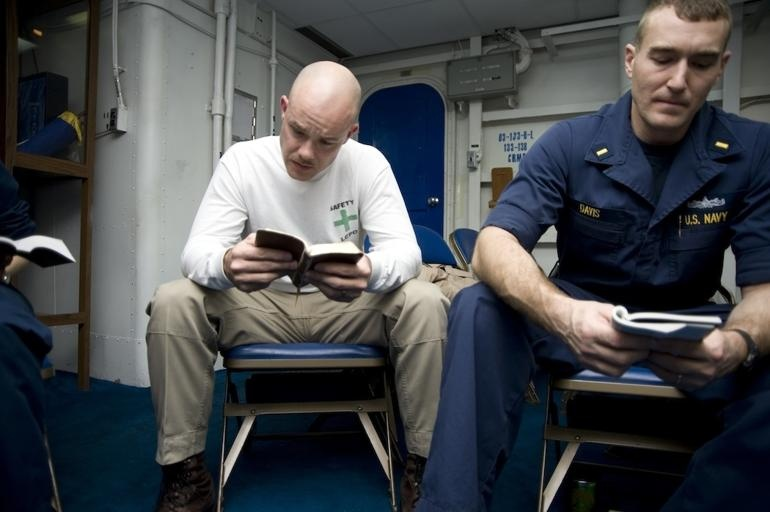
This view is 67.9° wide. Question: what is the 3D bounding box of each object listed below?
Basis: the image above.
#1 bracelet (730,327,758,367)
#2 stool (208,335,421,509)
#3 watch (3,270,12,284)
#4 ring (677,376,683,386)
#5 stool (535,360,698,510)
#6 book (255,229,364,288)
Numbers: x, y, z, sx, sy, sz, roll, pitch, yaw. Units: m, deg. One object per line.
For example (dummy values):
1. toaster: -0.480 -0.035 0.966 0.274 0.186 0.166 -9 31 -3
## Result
1. bracelet: 1.270 0.326 2.012 0.086 0.129 0.045 7 11 28
2. stool: -0.334 0.703 2.748 0.803 0.638 0.745 1 2 -2
3. watch: -1.625 0.092 2.457 0.007 0.071 0.038 -8 -21 21
4. ring: 1.029 0.430 1.990 0.017 0.042 0.029 7 11 28
5. stool: 0.892 0.659 2.379 0.623 0.627 0.553 1 -10 14
6. book: -0.302 0.012 2.259 0.428 0.237 0.213 1 10 -3
